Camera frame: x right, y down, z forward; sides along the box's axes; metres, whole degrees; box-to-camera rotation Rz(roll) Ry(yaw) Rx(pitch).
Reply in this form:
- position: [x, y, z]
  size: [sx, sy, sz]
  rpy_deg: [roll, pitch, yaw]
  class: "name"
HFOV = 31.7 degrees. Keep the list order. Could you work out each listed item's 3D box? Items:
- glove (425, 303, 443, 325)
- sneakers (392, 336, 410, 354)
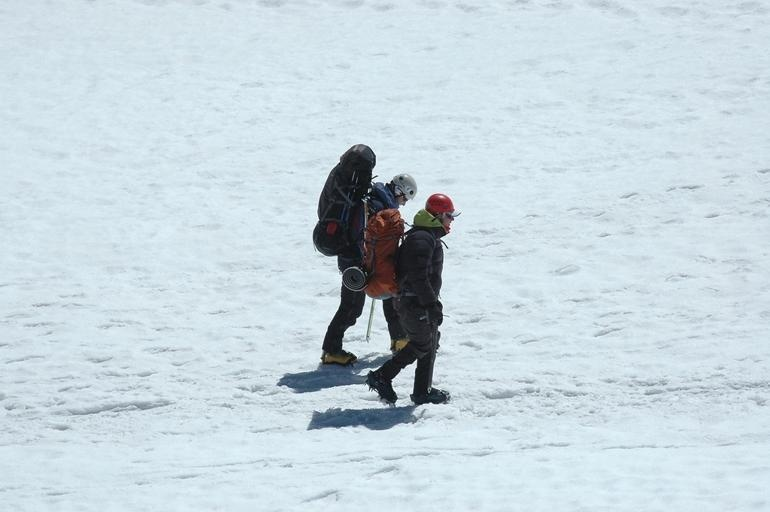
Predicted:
- position: [0.965, 1.185, 27.576]
  size: [0.225, 0.407, 0.397]
  rpy_deg: [-32, 119, -33]
  class: "glove"
- position: [0.201, 1.922, 29.234]
  size: [0.457, 0.109, 0.258]
  rpy_deg: [-38, 96, 14]
  class: "sneakers"
